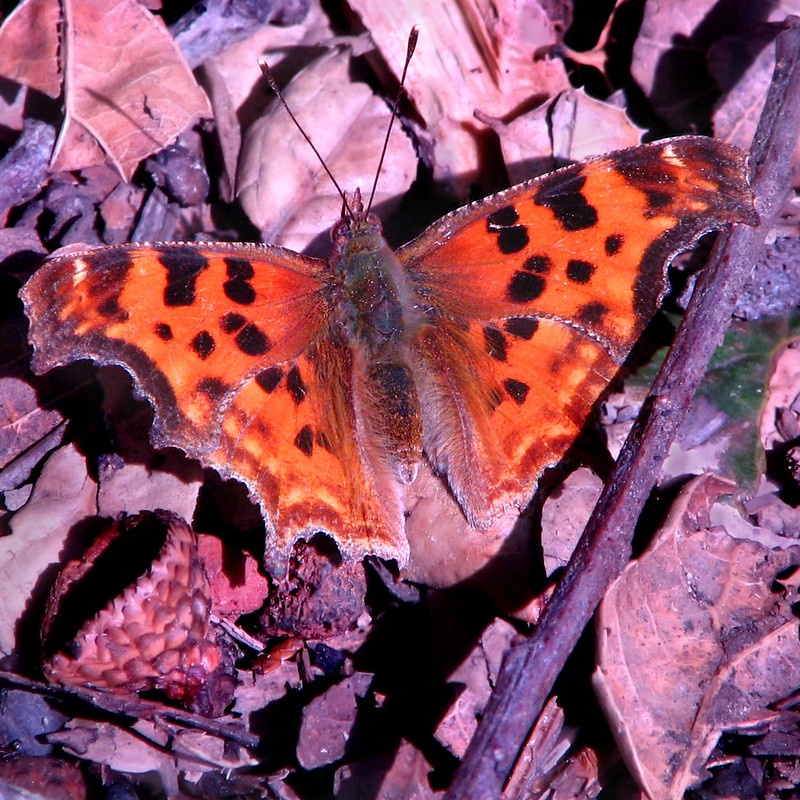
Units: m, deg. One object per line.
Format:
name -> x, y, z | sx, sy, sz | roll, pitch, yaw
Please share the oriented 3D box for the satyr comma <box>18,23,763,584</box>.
satyr comma -> -0.010, -0.147, 2.853 | 1.760, 0.824, 0.782 | -10, 54, 0
